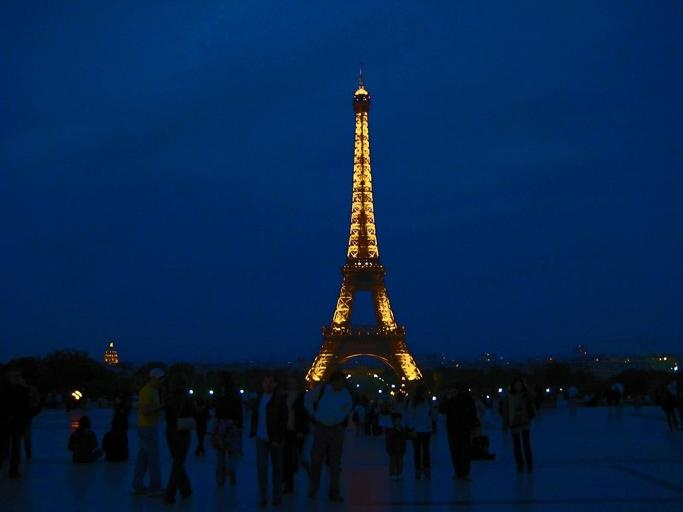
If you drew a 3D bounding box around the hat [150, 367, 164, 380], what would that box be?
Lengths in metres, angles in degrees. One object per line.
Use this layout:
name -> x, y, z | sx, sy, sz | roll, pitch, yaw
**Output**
hat -> -3.991, 2.557, 20.464 | 0.283, 0.272, 0.538 | 0, -15, -11
